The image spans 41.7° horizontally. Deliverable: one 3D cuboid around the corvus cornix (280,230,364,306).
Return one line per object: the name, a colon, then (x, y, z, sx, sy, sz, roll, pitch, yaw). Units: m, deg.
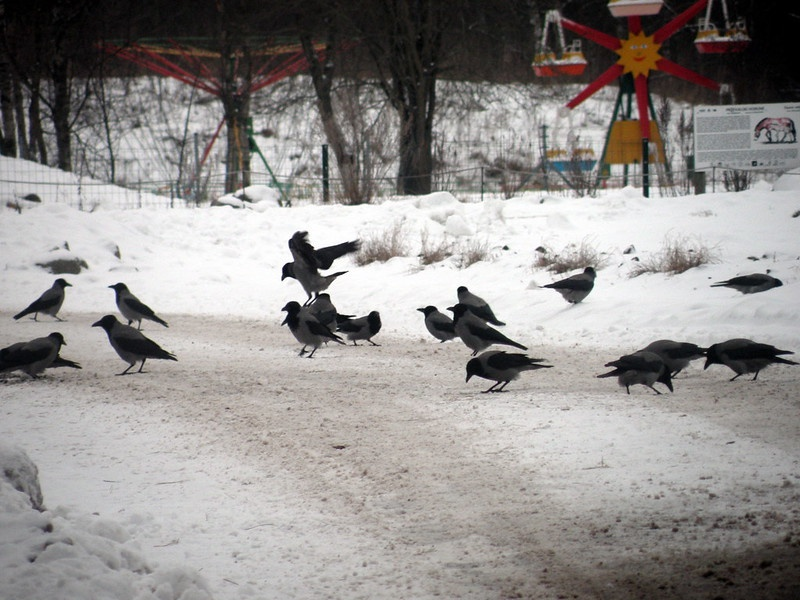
corvus cornix: (-1.674, -0.428, 19.487, 1.472, 0.790, 2.007, -7, -20, -23)

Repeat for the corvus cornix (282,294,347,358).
corvus cornix: (-1.466, 0.464, 17.085, 0.786, 0.870, 0.853, -2, 7, -6)

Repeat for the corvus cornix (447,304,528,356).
corvus cornix: (1.313, 0.536, 16.359, 1.564, 0.729, 0.458, 6, -6, -24)

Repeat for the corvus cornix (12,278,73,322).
corvus cornix: (-6.502, 0.022, 19.050, 0.863, 0.724, 1.102, -3, 7, -8)

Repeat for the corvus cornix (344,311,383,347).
corvus cornix: (-0.669, 0.483, 17.716, 0.652, 0.565, 0.358, -2, 7, -7)

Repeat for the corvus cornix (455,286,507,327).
corvus cornix: (1.339, 0.125, 17.686, 1.111, 0.751, 0.481, 2, 19, -21)

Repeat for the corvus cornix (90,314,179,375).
corvus cornix: (-3.973, 0.667, 15.654, 1.318, 0.734, 0.526, 4, 0, -29)

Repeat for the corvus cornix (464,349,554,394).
corvus cornix: (1.500, 1.002, 14.971, 1.093, 0.569, 0.621, -1, 7, 3)
